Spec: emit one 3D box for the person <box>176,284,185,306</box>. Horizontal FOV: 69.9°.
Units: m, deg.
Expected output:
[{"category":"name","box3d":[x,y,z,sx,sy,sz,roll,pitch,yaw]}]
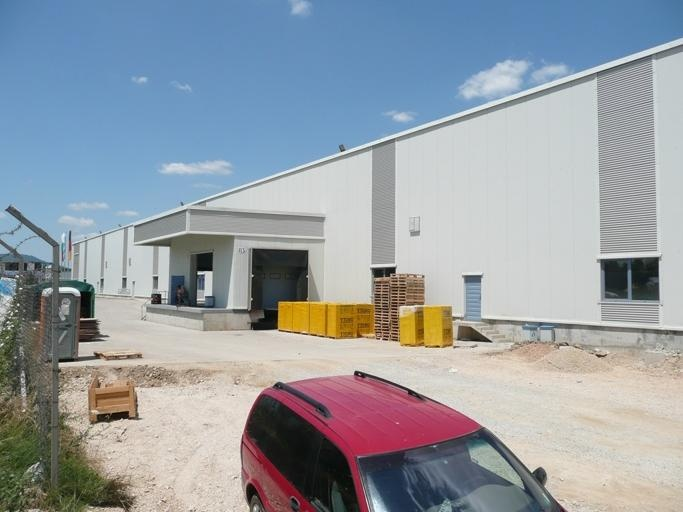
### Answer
[{"category":"person","box3d":[-11.149,2.740,33.877,0.500,1.380,1.071,0,2,-20]}]
